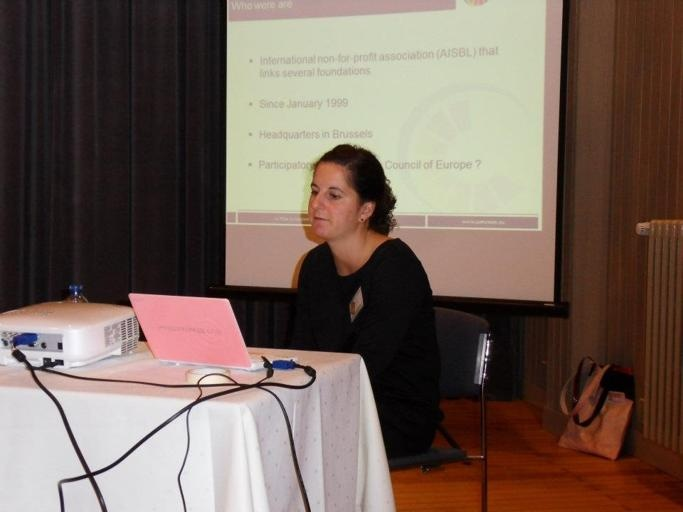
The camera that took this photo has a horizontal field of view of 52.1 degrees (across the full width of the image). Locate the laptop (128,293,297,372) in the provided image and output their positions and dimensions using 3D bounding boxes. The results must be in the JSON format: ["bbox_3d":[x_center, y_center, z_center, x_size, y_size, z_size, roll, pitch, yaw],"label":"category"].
[{"bbox_3d":[-0.423,0.212,1.975,0.280,0.202,0.284,-2,-5,28],"label":"laptop"}]

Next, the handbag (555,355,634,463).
[{"bbox_3d":[1.335,0.802,3.629,0.269,0.524,0.381,24,-11,-32],"label":"handbag"}]
